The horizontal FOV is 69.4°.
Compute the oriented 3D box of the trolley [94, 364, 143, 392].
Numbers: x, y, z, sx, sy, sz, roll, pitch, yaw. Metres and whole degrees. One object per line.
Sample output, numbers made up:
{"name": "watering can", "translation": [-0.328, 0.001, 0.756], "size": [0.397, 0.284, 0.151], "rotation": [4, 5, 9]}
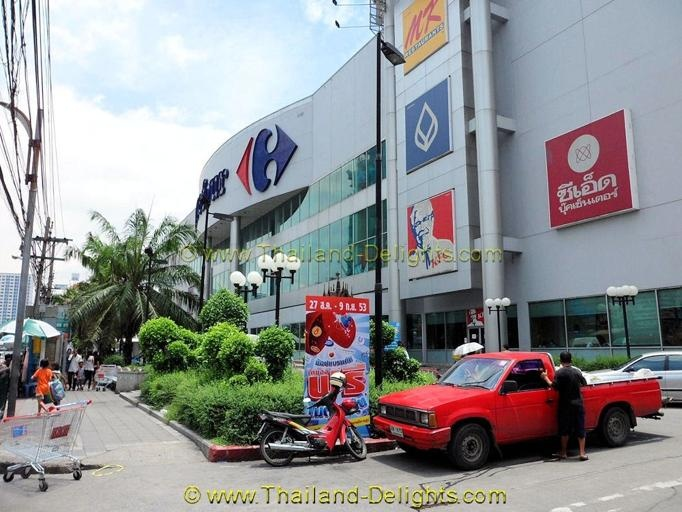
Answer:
{"name": "trolley", "translation": [-11.483, 6.245, 25.196], "size": [1.737, 1.269, 5.738], "rotation": [1, -4, -34]}

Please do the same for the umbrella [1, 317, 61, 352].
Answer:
{"name": "umbrella", "translation": [-14.330, 3.664, 22.893], "size": [2.942, 1.231, 3.176], "rotation": [-8, -13, 22]}

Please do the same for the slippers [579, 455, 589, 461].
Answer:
{"name": "slippers", "translation": [4.892, 4.075, 9.908], "size": [0.079, 0.068, 0.243], "rotation": [-2, -23, 7]}

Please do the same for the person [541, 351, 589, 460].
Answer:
{"name": "person", "translation": [4.774, 3.122, 10.312], "size": [0.972, 2.156, 0.769], "rotation": [1, -4, -35]}
